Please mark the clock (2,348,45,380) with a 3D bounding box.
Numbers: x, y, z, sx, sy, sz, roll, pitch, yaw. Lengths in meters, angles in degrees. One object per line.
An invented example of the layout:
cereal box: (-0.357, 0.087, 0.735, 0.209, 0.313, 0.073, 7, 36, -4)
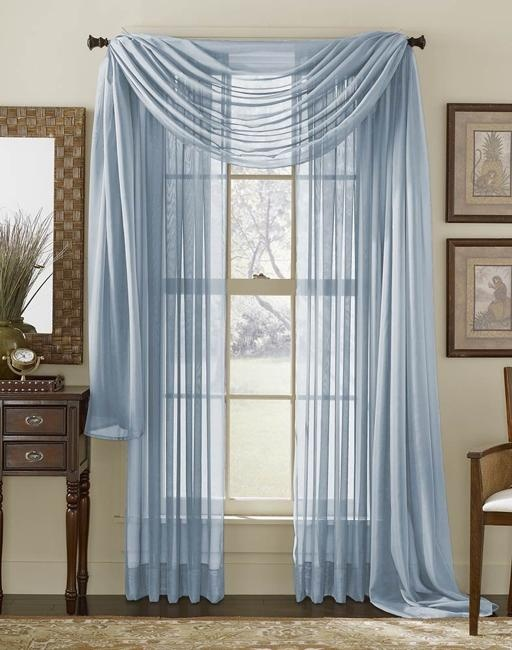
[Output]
clock: (-0.912, 0.168, 3.340, 0.142, 0.144, 0.125, 13, 19, 40)
